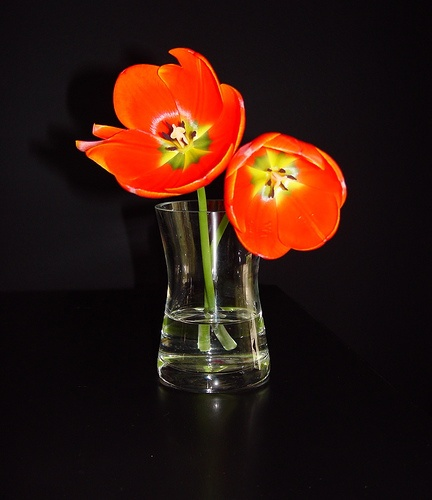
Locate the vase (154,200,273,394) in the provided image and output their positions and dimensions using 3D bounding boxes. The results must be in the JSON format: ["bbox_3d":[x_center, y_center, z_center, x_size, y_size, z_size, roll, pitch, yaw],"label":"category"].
[{"bbox_3d":[-0.005,0.048,0.488,0.098,0.191,0.111,-3,-4,-5],"label":"vase"}]

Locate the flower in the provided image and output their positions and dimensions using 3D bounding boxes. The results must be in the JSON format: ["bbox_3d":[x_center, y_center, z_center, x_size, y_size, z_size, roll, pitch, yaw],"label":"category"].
[{"bbox_3d":[-0.022,-0.041,0.420,0.141,0.221,0.130,-7,-4,-40],"label":"flower"}]
